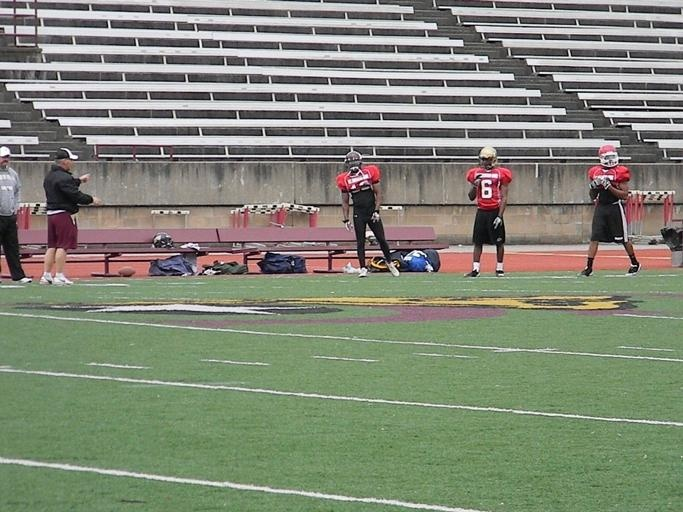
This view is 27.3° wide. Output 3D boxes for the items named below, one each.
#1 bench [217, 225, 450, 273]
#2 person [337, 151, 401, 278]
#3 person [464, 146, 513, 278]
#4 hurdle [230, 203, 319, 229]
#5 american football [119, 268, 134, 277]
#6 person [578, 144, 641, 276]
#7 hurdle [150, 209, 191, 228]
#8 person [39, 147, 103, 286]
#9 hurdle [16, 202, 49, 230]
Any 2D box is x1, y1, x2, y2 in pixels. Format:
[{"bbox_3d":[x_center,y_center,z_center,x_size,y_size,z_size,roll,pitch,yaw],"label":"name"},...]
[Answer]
[{"bbox_3d":[-0.579,-0.386,31.368,6.526,0.887,1.517,1,6,-29],"label":"bench"},{"bbox_3d":[0.496,-0.745,28.467,1.247,2.571,1.043,6,9,-4],"label":"person"},{"bbox_3d":[2.902,-0.825,27.714,1.092,2.443,0.881,2,2,23],"label":"person"},{"bbox_3d":[-1.779,-1.092,37.635,2.345,0.733,0.846,2,10,-6],"label":"hurdle"},{"bbox_3d":[-4.393,0.339,29.058,0.256,0.128,0.193,-2,10,29],"label":"american football"},{"bbox_3d":[5.214,-0.935,27.784,1.147,2.422,1.224,0,1,-9],"label":"person"},{"bbox_3d":[-4.479,-1.011,36.914,0.976,0.481,0.498,-6,14,-44],"label":"hurdle"},{"bbox_3d":[-5.193,-0.751,26.720,1.141,2.766,0.991,-2,10,-45],"label":"person"},{"bbox_3d":[-7.714,-1.031,35.468,0.249,0.692,0.716,21,47,5],"label":"hurdle"}]
